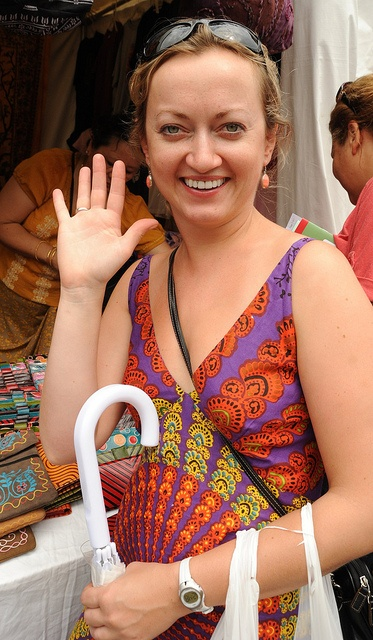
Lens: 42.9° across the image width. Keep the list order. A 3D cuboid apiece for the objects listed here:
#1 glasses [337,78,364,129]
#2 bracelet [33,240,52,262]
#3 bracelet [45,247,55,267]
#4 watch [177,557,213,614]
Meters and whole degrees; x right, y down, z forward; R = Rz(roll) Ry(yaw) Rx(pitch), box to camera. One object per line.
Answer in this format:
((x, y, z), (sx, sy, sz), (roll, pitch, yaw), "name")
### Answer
((0.586, -0.818, 1.757), (0.044, 0.150, 0.151), (-24, 33, 17), "glasses")
((-0.794, -0.380, 2.624), (0.093, 0.121, 0.054), (-9, 2, -1), "bracelet")
((-0.739, -0.348, 2.587), (0.037, 0.083, 0.074), (6, 24, 11), "bracelet")
((0.008, 0.397, 0.722), (0.043, 0.077, 0.071), (-12, -4, 3), "watch")
